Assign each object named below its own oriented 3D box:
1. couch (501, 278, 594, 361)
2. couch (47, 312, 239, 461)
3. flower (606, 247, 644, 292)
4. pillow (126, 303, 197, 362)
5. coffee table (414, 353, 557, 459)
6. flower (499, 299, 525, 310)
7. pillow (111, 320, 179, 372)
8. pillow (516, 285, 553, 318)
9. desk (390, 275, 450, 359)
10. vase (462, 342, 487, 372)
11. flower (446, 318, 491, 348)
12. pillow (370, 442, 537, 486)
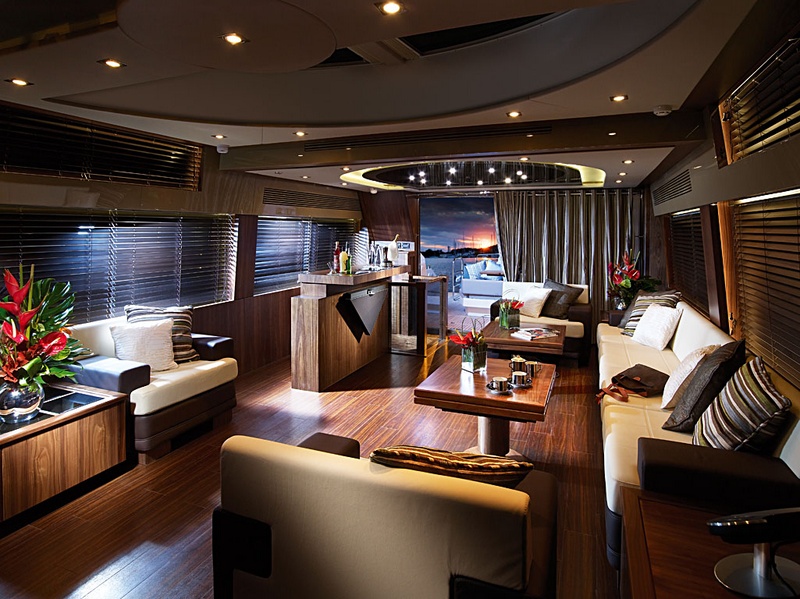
[{"bbox_3d":[2.277,0.248,7.674,1.862,1.374,1.046,0,-2,36],"label":"couch"},{"bbox_3d":[-2.381,0.806,4.760,1.172,1.079,1.289,1,4,18],"label":"couch"},{"bbox_3d":[3.492,-0.441,7.690,0.647,0.903,0.700,4,4,29],"label":"flower"},{"bbox_3d":[-2.371,0.340,4.947,0.587,0.567,0.219,2,-42,-33],"label":"pillow"},{"bbox_3d":[0.737,0.767,4.156,0.916,0.592,0.935,1,7,20],"label":"coffee table"},{"bbox_3d":[1.410,0.058,6.251,0.183,0.097,0.199,-2,-5,34],"label":"flower"},{"bbox_3d":[-2.435,0.440,4.736,0.437,0.430,0.164,-4,-18,-26],"label":"pillow"},{"bbox_3d":[2.093,-0.016,7.677,0.204,0.510,0.502,32,-13,-39],"label":"pillow"},{"bbox_3d":[0.365,0.197,8.277,0.521,1.154,1.261,4,10,23],"label":"desk"},{"bbox_3d":[0.665,0.500,4.415,0.225,0.324,0.240,-3,-4,32],"label":"vase"},{"bbox_3d":[0.951,0.440,6.842,0.554,0.562,0.521,-7,-7,38],"label":"flower"},{"bbox_3d":[0.291,0.833,2.545,0.567,0.129,0.353,5,-4,15],"label":"pillow"}]
